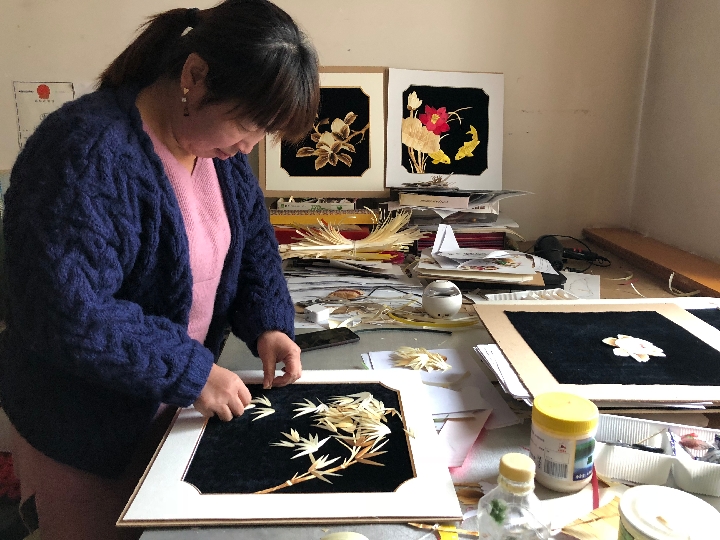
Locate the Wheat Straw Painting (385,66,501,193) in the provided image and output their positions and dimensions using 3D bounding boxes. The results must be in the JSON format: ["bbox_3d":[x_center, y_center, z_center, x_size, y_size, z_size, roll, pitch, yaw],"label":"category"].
[{"bbox_3d":[0.319,-0.590,2.123,0.592,0.507,0.027,1,4,-5],"label":"Wheat Straw Painting"}]

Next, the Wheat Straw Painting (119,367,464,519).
[{"bbox_3d":[-0.109,0.294,0.914,0.484,0.051,0.393,-5,22,-2],"label":"Wheat Straw Painting"}]

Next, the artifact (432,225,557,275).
[{"bbox_3d":[0.394,-0.070,1.714,0.317,0.069,0.331,0,22,10],"label":"artifact"}]

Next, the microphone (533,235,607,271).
[{"bbox_3d":[0.773,-0.072,1.937,0.206,0.068,0.193,3,22,-19],"label":"microphone"}]
